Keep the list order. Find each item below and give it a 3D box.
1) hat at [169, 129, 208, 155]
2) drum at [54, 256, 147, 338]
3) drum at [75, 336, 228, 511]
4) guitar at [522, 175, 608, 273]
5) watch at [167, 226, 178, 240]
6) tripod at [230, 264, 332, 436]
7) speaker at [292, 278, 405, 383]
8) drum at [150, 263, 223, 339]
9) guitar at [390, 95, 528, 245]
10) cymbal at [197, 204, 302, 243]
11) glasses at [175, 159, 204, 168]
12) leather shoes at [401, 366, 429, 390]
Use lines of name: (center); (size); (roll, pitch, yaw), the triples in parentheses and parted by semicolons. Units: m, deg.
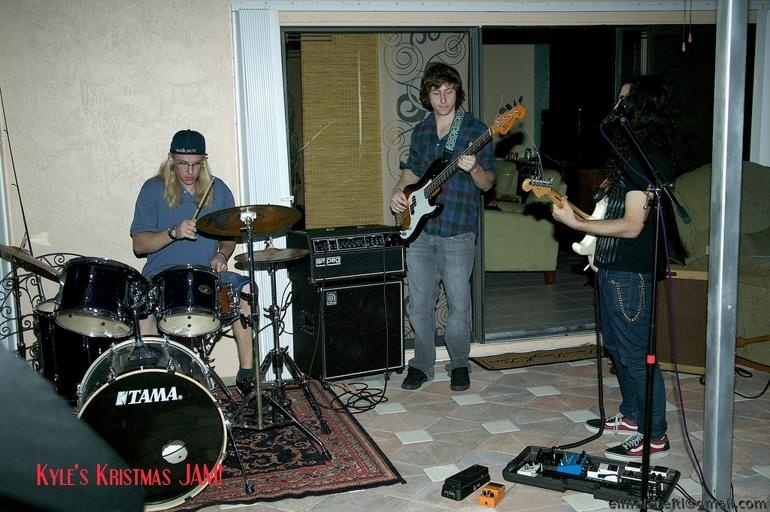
hat: (-1.236, -0.721, 4.093); (0.153, 0.112, 0.196); (-1, 12, -14)
drum: (-1.612, 0.231, 3.565); (0.468, 0.279, 0.409); (-16, -40, 34)
drum: (-1.201, 0.874, 3.374); (0.662, 0.871, 0.414); (-9, 15, -24)
guitar: (1.577, -0.258, 5.830); (1.323, 0.501, 0.213); (17, 10, -43)
watch: (-1.317, -0.142, 4.014); (0.059, 0.086, 0.082); (-1, 8, -37)
tripod: (-0.572, 0.558, 4.601); (0.959, 1.209, 0.797); (-2, 5, -7)
speaker: (-0.240, 0.392, 4.943); (0.923, 0.886, 0.682); (-2, 5, -26)
drum: (-1.100, 0.231, 3.692); (0.405, 0.393, 0.289); (-8, 54, -1)
guitar: (0.474, -0.519, 4.357); (0.814, 0.944, 0.405); (-1, 14, 4)
cymbal: (-0.787, -0.203, 3.746); (0.538, 0.220, 0.316); (0, 14, 8)
glasses: (-1.236, -0.583, 4.107); (0.166, 0.056, 0.076); (-6, 14, -16)
leather shoes: (0.210, 0.881, 4.699); (0.102, 0.096, 0.235); (1, -3, 24)
